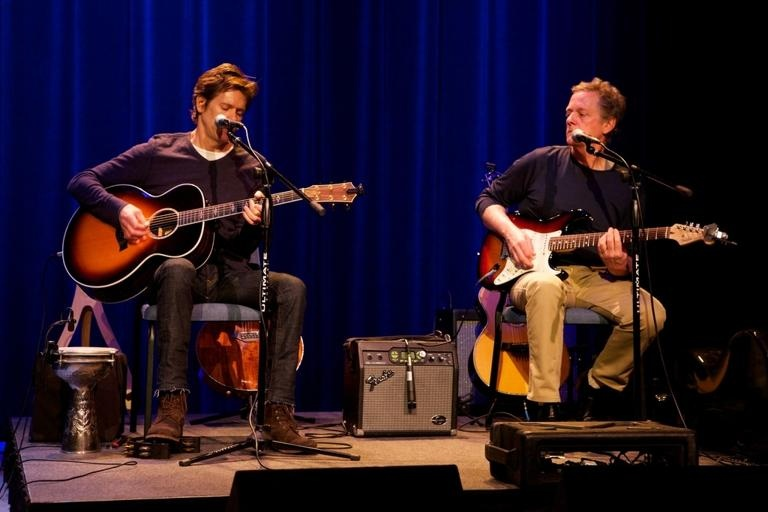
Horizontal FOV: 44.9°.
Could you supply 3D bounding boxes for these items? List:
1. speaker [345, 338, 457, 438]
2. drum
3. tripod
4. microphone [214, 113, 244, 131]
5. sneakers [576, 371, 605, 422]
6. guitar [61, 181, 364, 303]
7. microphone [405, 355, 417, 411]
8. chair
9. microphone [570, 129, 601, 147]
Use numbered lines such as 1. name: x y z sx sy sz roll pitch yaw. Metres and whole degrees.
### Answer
1. speaker: 0.079 0.783 5.783 0.646 0.643 0.578 2 -8 -14
2. drum: -1.640 0.815 5.100 0.399 0.540 0.406 -5 -13 -1
3. tripod: -0.609 0.252 5.042 0.900 1.655 0.557 0 -2 -11
4. microphone: -0.787 -0.728 5.021 0.241 0.079 0.073 -1 2 4
5. sneakers: 1.249 0.853 5.665 0.139 0.277 0.504 -1 -2 12
6. guitar: -0.982 -0.090 5.602 1.726 0.736 0.236 -11 -19 -4
7. microphone: 0.164 0.755 5.510 0.058 0.339 0.048 0 -2 0
8. chair: -1.051 0.617 5.560 0.735 0.710 0.602 1 2 -11
9. microphone: 1.163 -0.672 5.334 0.151 0.105 0.264 -1 -2 9
